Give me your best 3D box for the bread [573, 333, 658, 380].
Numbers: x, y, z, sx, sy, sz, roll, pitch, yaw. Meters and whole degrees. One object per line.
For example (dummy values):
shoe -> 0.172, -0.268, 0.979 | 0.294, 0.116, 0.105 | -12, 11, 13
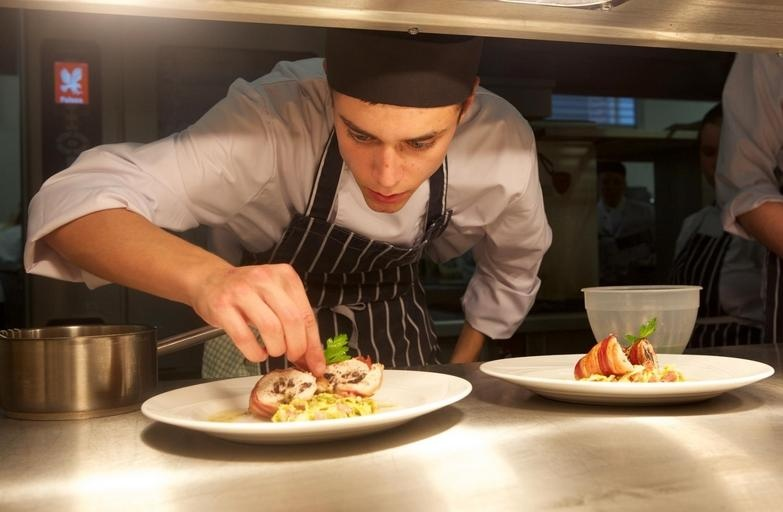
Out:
bread -> 0.439, 0.187, 1.251 | 0.146, 0.055, 0.105 | -19, -4, 19

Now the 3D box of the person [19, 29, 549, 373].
person -> -0.143, -0.069, 1.641 | 0.752, 0.882, 1.173 | 3, 7, 29

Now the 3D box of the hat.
hat -> 0.007, -0.348, 1.355 | 0.218, 0.101, 0.219 | -9, 18, -40

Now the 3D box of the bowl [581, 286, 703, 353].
bowl -> 0.515, 0.118, 1.347 | 0.178, 0.111, 0.175 | 0, -6, 0

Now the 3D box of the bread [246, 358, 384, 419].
bread -> -0.133, 0.211, 1.169 | 0.170, 0.043, 0.107 | -8, 14, -30
